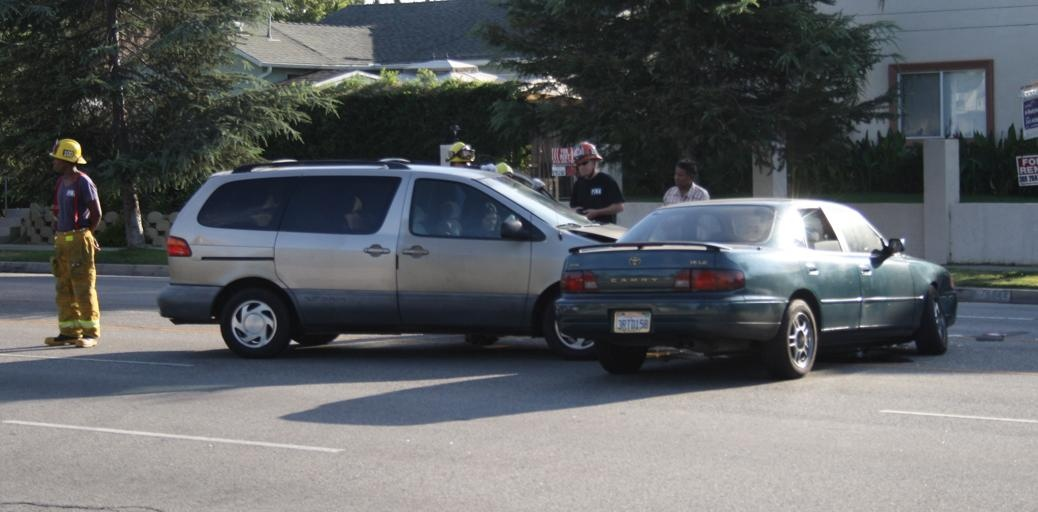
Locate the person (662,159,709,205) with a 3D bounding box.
[{"bbox_3d":[3.310,-1.400,19.576,1.062,0.957,0.569,5,9,44],"label":"person"}]

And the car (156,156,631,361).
[{"bbox_3d":[-2.363,0.041,18.840,8.162,2.744,3.664,-1,1,5],"label":"car"}]

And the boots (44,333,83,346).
[{"bbox_3d":[-8.668,1.585,18.786,0.730,0.277,0.252,5,1,-10],"label":"boots"}]

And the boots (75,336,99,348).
[{"bbox_3d":[-8.220,1.632,18.791,0.434,0.164,0.151,-2,3,-21],"label":"boots"}]

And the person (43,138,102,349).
[{"bbox_3d":[-8.550,-0.256,18.937,0.919,3.945,0.956,-3,3,-23],"label":"person"}]
